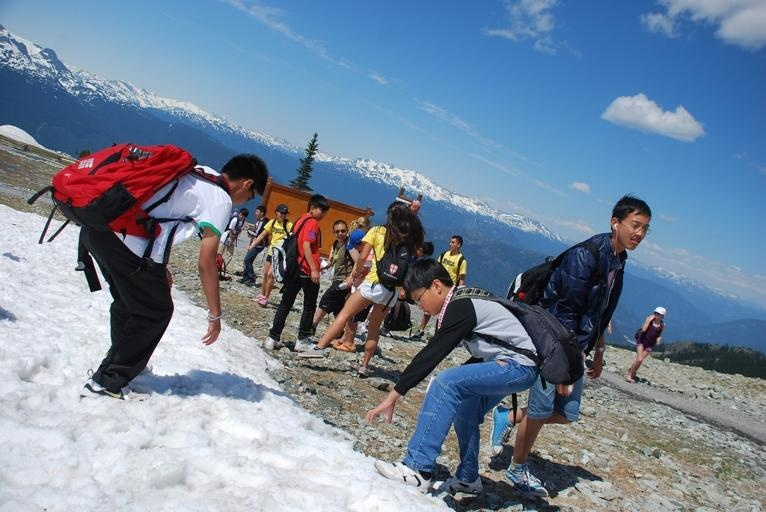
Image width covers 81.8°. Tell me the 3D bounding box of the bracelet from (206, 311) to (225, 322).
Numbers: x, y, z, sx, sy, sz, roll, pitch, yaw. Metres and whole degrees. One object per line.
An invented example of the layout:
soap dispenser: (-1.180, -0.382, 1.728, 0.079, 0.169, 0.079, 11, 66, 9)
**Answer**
bracelet: (-1.925, 0.711, 5.140, 0.219, 0.078, 0.158, -3, 4, -42)

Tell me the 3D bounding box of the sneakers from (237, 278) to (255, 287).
sneakers: (-4.430, 0.823, 14.379, 0.499, 0.206, 0.251, 14, -7, -17)

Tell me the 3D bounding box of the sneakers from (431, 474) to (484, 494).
sneakers: (0.872, 2.635, 5.214, 0.630, 0.244, 0.223, 6, -12, 1)

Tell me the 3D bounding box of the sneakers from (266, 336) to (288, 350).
sneakers: (-1.956, 1.600, 8.092, 0.274, 0.154, 0.359, 6, -6, -18)

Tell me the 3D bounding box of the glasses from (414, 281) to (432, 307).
glasses: (0.425, 0.436, 5.045, 0.124, 0.229, 0.175, 50, -22, -9)

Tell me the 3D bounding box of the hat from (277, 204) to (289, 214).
hat: (-2.817, -1.307, 12.336, 0.282, 0.211, 0.372, 4, 1, -28)

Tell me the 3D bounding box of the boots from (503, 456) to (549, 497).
boots: (1.790, 2.763, 5.511, 0.233, 0.252, 0.583, 2, 4, -38)

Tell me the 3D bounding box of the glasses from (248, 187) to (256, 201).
glasses: (-1.571, -0.742, 5.315, 0.050, 0.165, 0.159, -7, 3, -6)
